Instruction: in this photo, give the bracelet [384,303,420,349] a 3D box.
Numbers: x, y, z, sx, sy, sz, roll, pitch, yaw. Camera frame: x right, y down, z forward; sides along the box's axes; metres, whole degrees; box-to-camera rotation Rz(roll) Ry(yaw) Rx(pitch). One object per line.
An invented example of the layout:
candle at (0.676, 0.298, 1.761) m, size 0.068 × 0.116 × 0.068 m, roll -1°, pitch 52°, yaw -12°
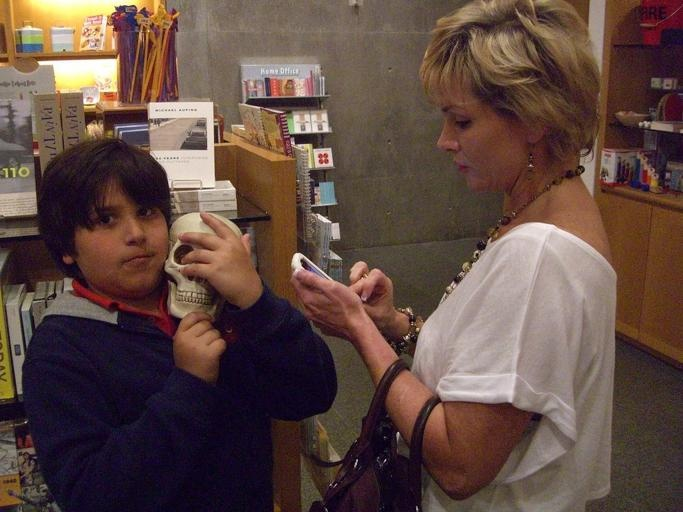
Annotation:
bracelet at (0.199, 0.253, 1.835) m, size 0.052 × 0.148 × 0.113 m, roll 30°, pitch 40°, yaw 20°
